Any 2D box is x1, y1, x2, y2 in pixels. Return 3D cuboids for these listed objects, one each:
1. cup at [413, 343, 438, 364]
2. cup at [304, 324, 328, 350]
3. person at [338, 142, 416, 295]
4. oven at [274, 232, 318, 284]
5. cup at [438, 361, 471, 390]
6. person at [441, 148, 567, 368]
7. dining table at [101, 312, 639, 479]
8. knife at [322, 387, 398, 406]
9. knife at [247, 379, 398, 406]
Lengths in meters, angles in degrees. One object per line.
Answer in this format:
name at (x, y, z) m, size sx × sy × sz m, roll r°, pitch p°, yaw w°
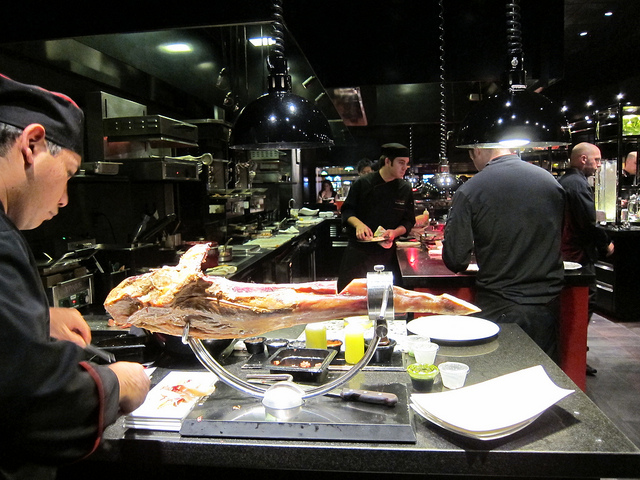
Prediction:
cup at (0.421, 0.453, 1.940) m, size 0.088 × 0.049 × 0.084 m, roll 1°, pitch -3°, yaw 0°
cup at (-0.018, 0.404, 2.023) m, size 0.109 × 0.113 × 0.104 m, roll -1°, pitch -4°, yaw 0°
person at (0.558, -0.245, 4.738) m, size 0.769 × 1.366 × 0.633 m, roll 0°, pitch 7°, yaw 5°
oven at (-0.265, 0.314, 5.920) m, size 0.265 × 0.511 × 0.989 m, roll 1°, pitch 7°, yaw 14°
cup at (0.507, 0.499, 1.822) m, size 0.105 × 0.059 × 0.100 m, roll 0°, pitch -3°, yaw 0°
person at (1.059, 0.073, 2.857) m, size 0.681 × 1.246 × 0.432 m, roll 2°, pitch 8°, yaw 25°
dining table at (0.182, 0.459, 1.892) m, size 1.653 × 0.488 × 0.798 m, roll 0°, pitch 7°, yaw 4°
knife at (0.135, 0.546, 1.688) m, size 0.325 × 0.030 × 0.061 m, roll 1°, pitch 2°, yaw 16°
knife at (0.002, 0.536, 1.693) m, size 0.516 × 0.024 × 0.071 m, roll 3°, pitch 2°, yaw 13°
